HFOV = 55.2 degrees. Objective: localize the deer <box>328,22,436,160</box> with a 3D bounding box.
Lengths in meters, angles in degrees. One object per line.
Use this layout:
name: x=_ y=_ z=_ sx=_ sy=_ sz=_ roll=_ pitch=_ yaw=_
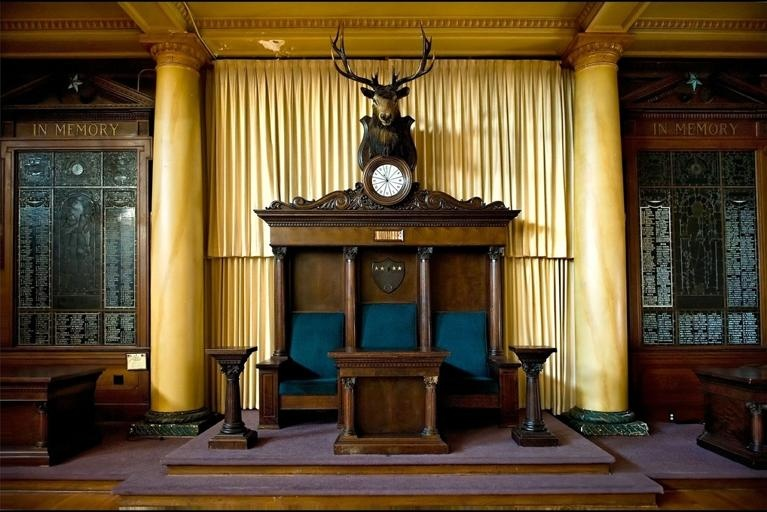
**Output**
deer: x=-0.019 y=-2.025 z=9.215 sx=1.688 sy=2.199 sz=0.676 roll=-2 pitch=9 yaw=-4
